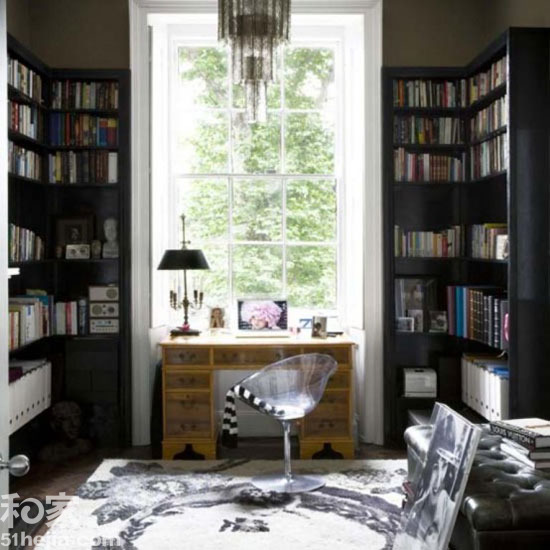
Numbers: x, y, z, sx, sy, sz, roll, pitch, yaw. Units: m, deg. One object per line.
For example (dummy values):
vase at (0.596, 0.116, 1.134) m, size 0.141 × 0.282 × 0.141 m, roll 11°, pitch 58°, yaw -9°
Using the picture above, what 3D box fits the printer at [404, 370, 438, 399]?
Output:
printer at (1.078, 0.801, 4.354) m, size 0.239 × 0.181 × 0.189 m, roll 0°, pitch 3°, yaw 12°

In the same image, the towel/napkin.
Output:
towel/napkin at (-0.152, 0.877, 3.788) m, size 0.349 × 0.532 × 0.472 m, roll 0°, pitch 1°, yaw -2°

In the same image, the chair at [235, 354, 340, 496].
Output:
chair at (0.045, 0.914, 3.928) m, size 0.679 × 1.031 × 0.808 m, roll -6°, pitch 7°, yaw -4°

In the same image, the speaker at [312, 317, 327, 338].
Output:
speaker at (0.334, 0.379, 4.347) m, size 0.110 × 0.190 × 0.128 m, roll 0°, pitch 0°, yaw 11°

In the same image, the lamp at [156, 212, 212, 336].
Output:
lamp at (-0.681, -0.024, 4.476) m, size 0.368 × 0.924 × 0.686 m, roll 0°, pitch 3°, yaw -8°

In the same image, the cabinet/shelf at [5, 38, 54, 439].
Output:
cabinet/shelf at (-1.696, -0.256, 4.003) m, size 0.244 × 2.555 × 0.931 m, roll 0°, pitch 2°, yaw -8°
